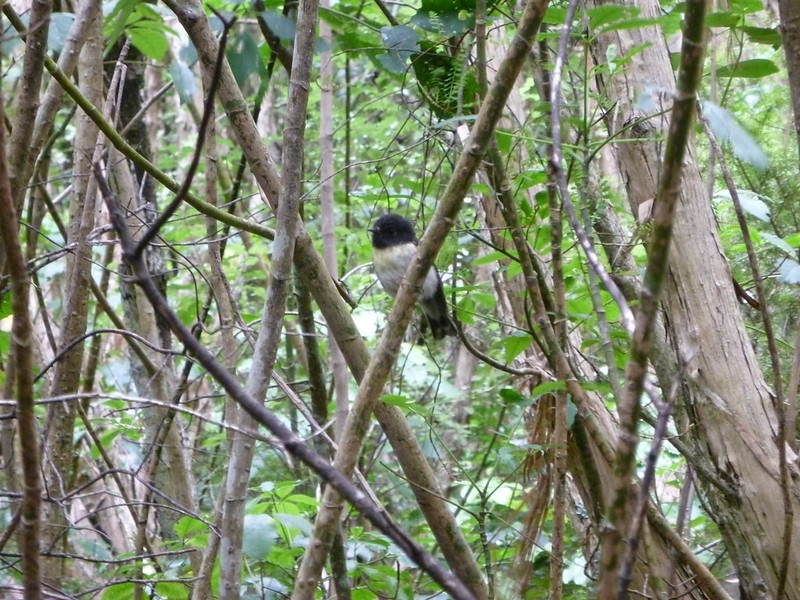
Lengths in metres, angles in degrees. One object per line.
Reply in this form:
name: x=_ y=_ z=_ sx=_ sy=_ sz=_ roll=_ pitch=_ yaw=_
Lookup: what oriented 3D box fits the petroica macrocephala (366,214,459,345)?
petroica macrocephala: x=0.093 y=-0.161 z=7.238 sx=0.445 sy=0.842 sz=0.823 roll=-10 pitch=-36 yaw=13
